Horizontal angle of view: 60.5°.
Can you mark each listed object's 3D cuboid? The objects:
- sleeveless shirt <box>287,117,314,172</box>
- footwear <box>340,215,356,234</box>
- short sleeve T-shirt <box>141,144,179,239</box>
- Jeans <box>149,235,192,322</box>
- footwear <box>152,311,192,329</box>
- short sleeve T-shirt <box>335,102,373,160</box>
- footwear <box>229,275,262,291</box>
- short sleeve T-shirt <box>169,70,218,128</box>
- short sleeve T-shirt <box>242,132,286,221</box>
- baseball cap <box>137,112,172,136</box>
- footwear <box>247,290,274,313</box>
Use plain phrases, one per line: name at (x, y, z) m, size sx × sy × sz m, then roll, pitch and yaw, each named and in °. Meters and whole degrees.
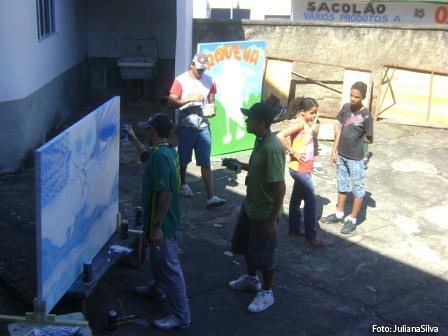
sleeveless shirt at (1.176, -0.321, 5.808) m, size 0.365 × 0.714 × 0.386 m, roll 4°, pitch 18°, yaw 8°
footwear at (2.065, 0.894, 6.388) m, size 0.156 × 0.192 × 0.446 m, roll 8°, pitch 28°, yaw 27°
short sleeve T-shirt at (-0.661, 0.252, 4.011) m, size 0.372 × 0.955 × 0.371 m, roll -2°, pitch 18°, yaw -12°
Jeans at (-0.542, 1.185, 4.086) m, size 0.456 × 0.967 × 0.259 m, roll 15°, pitch 22°, yaw 36°
footwear at (-0.564, 1.618, 4.104) m, size 0.376 × 0.172 × 0.152 m, roll 5°, pitch 7°, yaw -6°
short sleeve T-shirt at (2.108, -0.581, 6.223) m, size 0.536 × 0.819 × 0.345 m, roll 11°, pitch 20°, yaw 27°
footwear at (0.271, 1.389, 4.823) m, size 0.412 × 0.199 × 0.175 m, roll 4°, pitch 20°, yaw 6°
short sleeve T-shirt at (-0.537, -1.240, 7.116) m, size 0.988 × 1.124 × 0.568 m, roll -7°, pitch 25°, yaw -18°
short sleeve T-shirt at (0.450, 0.093, 4.320) m, size 0.439 × 0.925 × 0.457 m, roll 3°, pitch 18°, yaw 6°
baseball cap at (-0.720, -0.495, 4.125) m, size 0.377 × 0.221 × 0.249 m, roll 19°, pitch 7°, yaw 7°
footwear at (0.445, 1.511, 4.481) m, size 0.146 × 0.164 × 0.381 m, roll 23°, pitch 23°, yaw 36°
